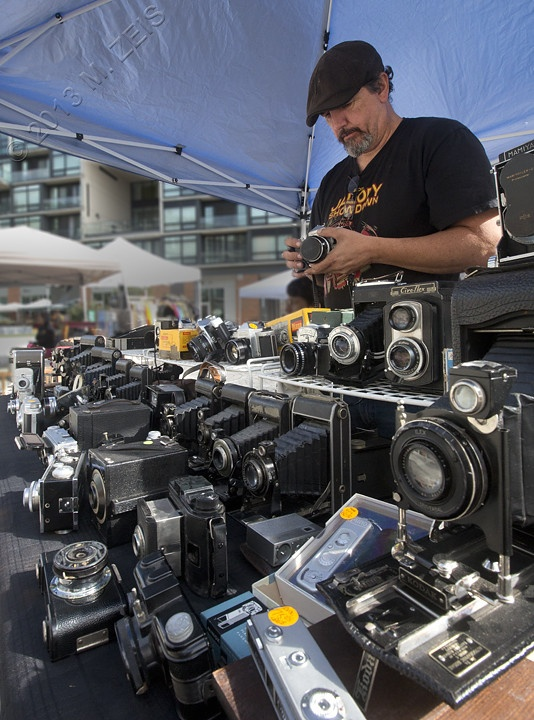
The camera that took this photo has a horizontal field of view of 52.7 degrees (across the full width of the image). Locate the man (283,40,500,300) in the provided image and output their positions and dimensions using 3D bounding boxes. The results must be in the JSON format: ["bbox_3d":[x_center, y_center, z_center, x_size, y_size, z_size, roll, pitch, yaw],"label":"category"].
[{"bbox_3d":[0.602,-0.901,2.666,0.773,1.251,1.022,-4,6,4],"label":"man"}]

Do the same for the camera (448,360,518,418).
[{"bbox_3d":[0.377,0.048,0.964,0.114,0.097,0.095,-2,0,-31],"label":"camera"}]

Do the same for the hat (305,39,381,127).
[{"bbox_3d":[0.345,-1.321,2.500,0.390,0.201,0.279,-43,26,-8],"label":"hat"}]

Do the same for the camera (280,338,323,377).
[{"bbox_3d":[0.142,0.003,2.398,0.131,0.159,0.204,-5,6,-10],"label":"camera"}]

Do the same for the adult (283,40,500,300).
[{"bbox_3d":[0.605,-0.900,2.657,0.779,1.251,1.014,-4,6,5],"label":"adult"}]

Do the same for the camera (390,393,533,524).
[{"bbox_3d":[0.432,0.161,1.113,0.304,0.208,0.225,-7,6,-26],"label":"camera"}]

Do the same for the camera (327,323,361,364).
[{"bbox_3d":[0.286,-0.051,2.093,0.063,0.159,0.188,-7,7,-27],"label":"camera"}]

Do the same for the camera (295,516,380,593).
[{"bbox_3d":[0.189,0.518,1.459,0.100,0.035,0.265,-3,26,49],"label":"camera"}]

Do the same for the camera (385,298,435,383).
[{"bbox_3d":[0.474,-0.057,1.826,0.071,0.280,0.203,-7,7,-28],"label":"camera"}]

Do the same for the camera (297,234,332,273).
[{"bbox_3d":[0.195,-0.464,2.248,0.145,0.126,0.092,0,7,37],"label":"camera"}]

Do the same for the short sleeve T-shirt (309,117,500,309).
[{"bbox_3d":[0.639,-0.755,2.814,0.506,0.845,1.154,-2,-1,-38],"label":"short sleeve T-shirt"}]
